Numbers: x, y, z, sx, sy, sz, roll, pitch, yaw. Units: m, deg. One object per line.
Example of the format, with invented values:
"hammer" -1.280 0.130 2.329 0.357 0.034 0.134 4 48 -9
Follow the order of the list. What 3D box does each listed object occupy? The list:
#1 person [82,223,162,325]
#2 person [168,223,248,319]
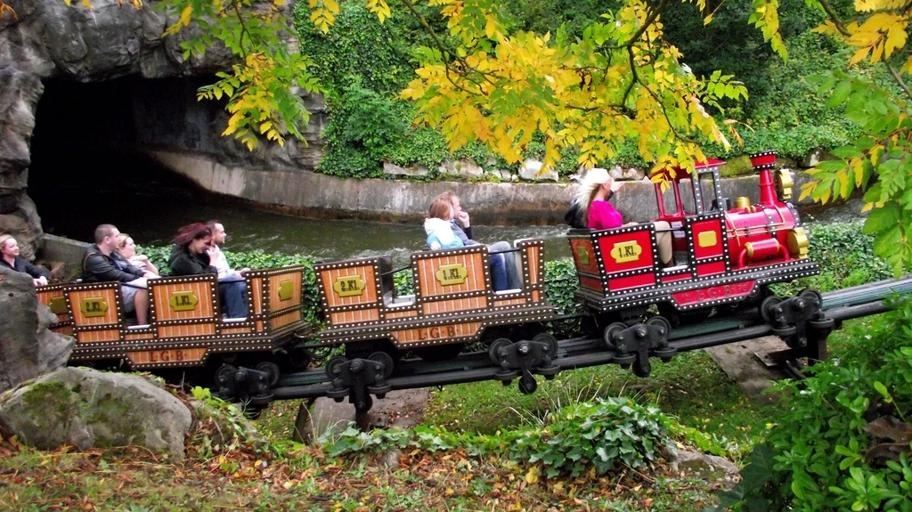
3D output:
"person" -6.488 0.346 14.990 1.344 2.054 0.946 -4 2 33
"person" -4.740 0.272 14.787 1.319 1.847 1.069 -6 2 -20
